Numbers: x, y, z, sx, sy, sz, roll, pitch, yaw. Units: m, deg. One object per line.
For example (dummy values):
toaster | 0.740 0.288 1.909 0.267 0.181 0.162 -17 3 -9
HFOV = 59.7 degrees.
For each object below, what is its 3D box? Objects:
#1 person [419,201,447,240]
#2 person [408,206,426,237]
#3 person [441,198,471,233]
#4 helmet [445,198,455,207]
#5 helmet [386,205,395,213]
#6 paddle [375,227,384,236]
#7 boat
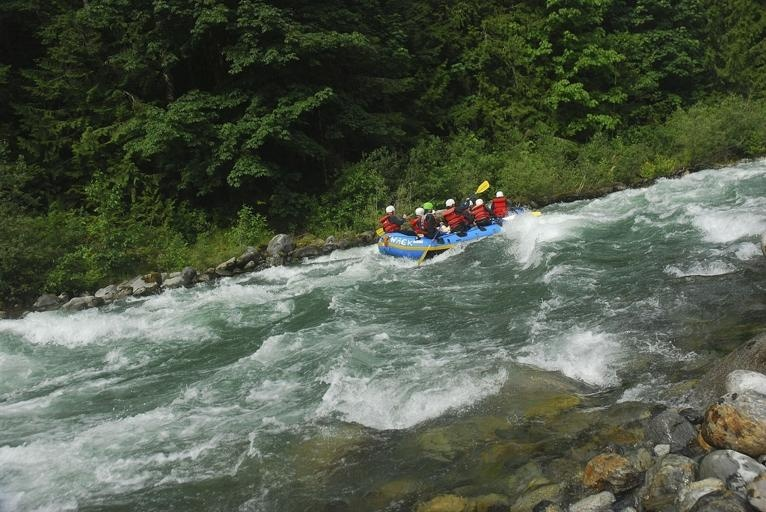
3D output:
person | 2.036 -1.396 26.843 0.924 1.527 0.984 -5 -4 -22
person | 1.447 -1.388 27.007 0.453 1.126 0.794 15 -1 -9
person | 3.005 -1.541 26.887 1.098 1.566 1.006 -14 -5 -16
helmet | 2.707 -2.138 27.230 0.297 0.326 0.380 -37 14 -32
helmet | 0.293 -1.942 27.596 0.334 0.288 0.280 -8 40 46
paddle | -0.150 -1.026 28.674 0.289 0.340 0.375 -8 -6 3
boat | 2.474 -0.690 26.351 4.859 0.913 2.461 -18 9 7
